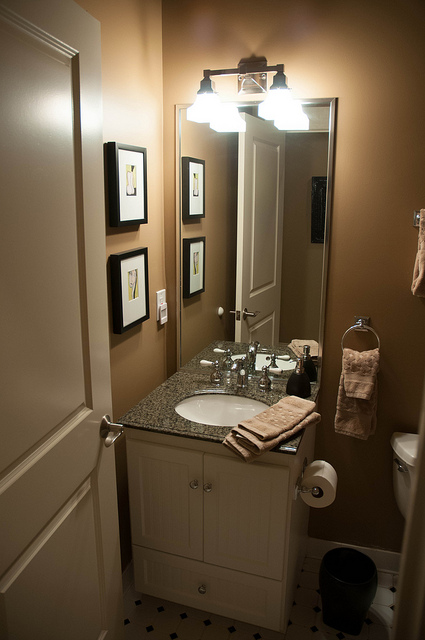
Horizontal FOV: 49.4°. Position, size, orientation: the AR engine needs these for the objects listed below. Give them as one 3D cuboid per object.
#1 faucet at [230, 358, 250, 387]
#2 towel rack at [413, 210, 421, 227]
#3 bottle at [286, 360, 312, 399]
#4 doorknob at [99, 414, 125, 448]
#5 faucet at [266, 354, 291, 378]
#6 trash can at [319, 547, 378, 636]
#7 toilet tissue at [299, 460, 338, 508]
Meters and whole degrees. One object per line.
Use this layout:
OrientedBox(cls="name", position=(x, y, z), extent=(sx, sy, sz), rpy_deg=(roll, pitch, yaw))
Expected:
OrientedBox(cls="faucet", position=(0.112, 0.202, 1.899), extent=(0.064, 0.088, 0.167), rpy_deg=(-1, 18, -11))
OrientedBox(cls="towel rack", position=(0.754, -0.375, 1.701), extent=(0.014, 0.057, 0.039), rpy_deg=(0, 16, -7))
OrientedBox(cls="bottle", position=(0.337, 0.232, 1.821), extent=(0.097, 0.192, 0.115), rpy_deg=(6, 11, 30))
OrientedBox(cls="doorknob", position=(-0.255, 0.289, 1.194), extent=(0.048, 0.093, 0.068), rpy_deg=(3, 16, 6))
OrientedBox(cls="faucet", position=(0.270, 0.192, 1.937), extent=(0.106, 0.146, 0.067), rpy_deg=(-3, 0, 2))
OrientedBox(cls="trash can", position=(0.502, 0.977, 1.773), extent=(0.205, 0.324, 0.244), rpy_deg=(2, 1, 24))
OrientedBox(cls="toilet tissue", position=(0.373, 0.558, 1.648), extent=(0.116, 0.151, 0.159), rpy_deg=(-3, 12, 14))
